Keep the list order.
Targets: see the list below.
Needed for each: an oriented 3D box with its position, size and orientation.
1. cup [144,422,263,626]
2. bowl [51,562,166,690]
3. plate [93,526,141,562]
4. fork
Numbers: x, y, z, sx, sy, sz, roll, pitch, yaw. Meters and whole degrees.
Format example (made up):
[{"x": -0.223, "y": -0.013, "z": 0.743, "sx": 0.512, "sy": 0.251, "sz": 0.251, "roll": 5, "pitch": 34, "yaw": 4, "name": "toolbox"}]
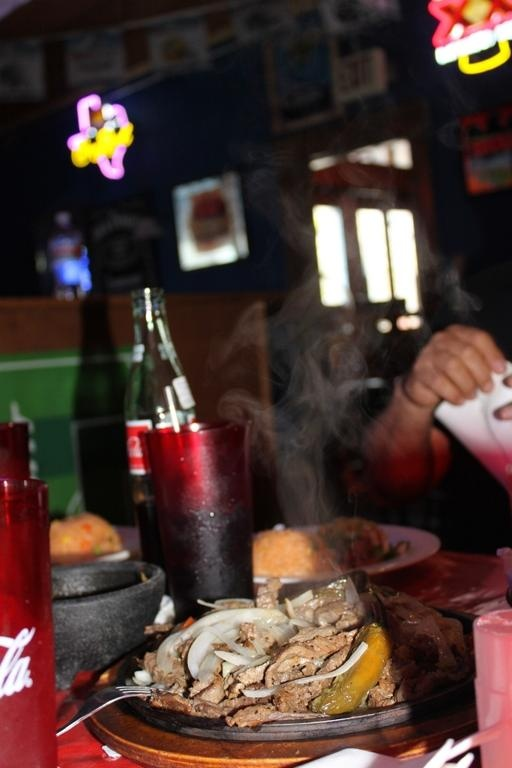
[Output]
[{"x": -0.038, "y": 0.111, "z": 0.569, "sx": 0.081, "sy": 0.157, "sz": 0.053, "roll": -8, "pitch": 0, "yaw": -11, "name": "cup"}, {"x": -0.110, "y": 0.171, "z": 0.533, "sx": 0.090, "sy": 0.063, "sz": 0.090, "roll": -2, "pitch": 0, "yaw": 0, "name": "bowl"}, {"x": -0.178, "y": 0.205, "z": 0.887, "sx": 0.049, "sy": 0.016, "sz": 0.072, "roll": -4, "pitch": 1, "yaw": -23, "name": "plate"}, {"x": -0.088, "y": 0.194, "z": 0.422, "sx": 0.064, "sy": 0.014, "sz": 0.046, "roll": -7, "pitch": 0, "yaw": -17, "name": "fork"}]
